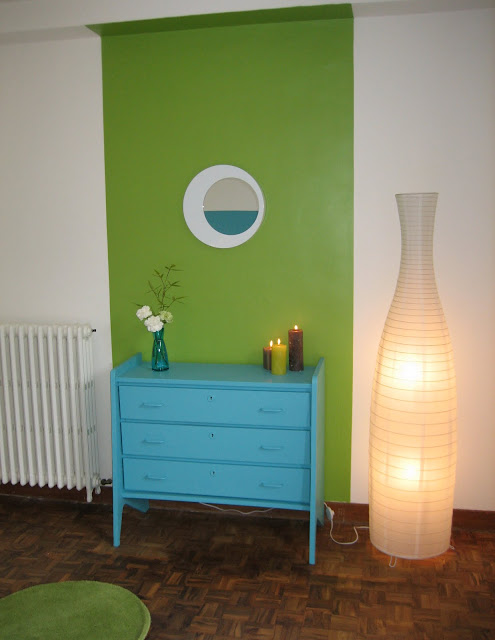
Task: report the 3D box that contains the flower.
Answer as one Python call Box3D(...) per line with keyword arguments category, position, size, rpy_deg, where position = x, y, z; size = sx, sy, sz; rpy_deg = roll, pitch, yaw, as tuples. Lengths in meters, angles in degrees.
Box3D(category="flower", position=(-0.390, -0.096, 2.593), size=(0.197, 0.287, 0.162), rpy_deg=(6, 30, 6))

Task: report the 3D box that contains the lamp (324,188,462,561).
Box3D(category="lamp", position=(0.638, 0.238, 2.244), size=(0.322, 1.434, 0.164), rpy_deg=(1, 8, 13))
